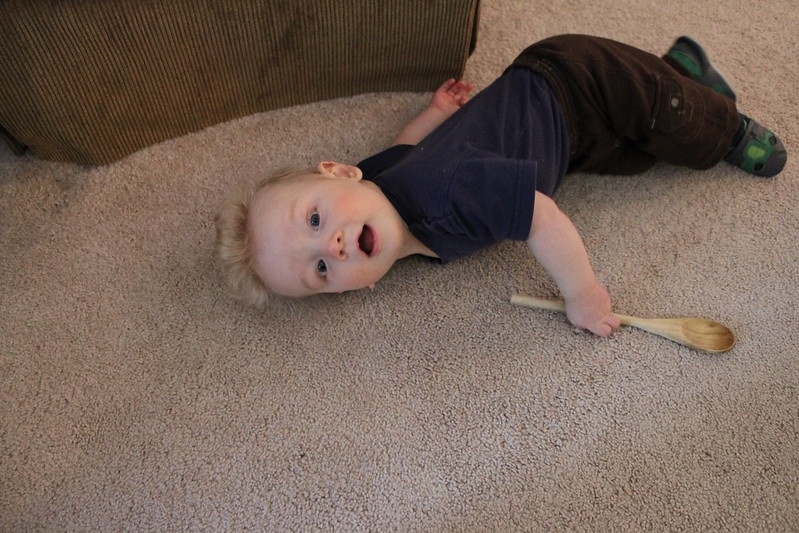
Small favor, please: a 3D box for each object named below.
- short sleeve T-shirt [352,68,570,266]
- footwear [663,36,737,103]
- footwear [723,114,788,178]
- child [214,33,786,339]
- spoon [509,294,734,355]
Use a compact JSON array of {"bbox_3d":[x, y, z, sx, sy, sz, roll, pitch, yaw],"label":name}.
[{"bbox_3d":[0.178,-0.196,1.566,0.450,0.280,0.376,-19,56,-9],"label":"short sleeve T-shirt"},{"bbox_3d":[0.736,-0.471,1.666,0.215,0.077,0.086,47,42,8],"label":"footwear"},{"bbox_3d":[0.847,-0.295,1.688,0.188,0.094,0.079,30,22,10],"label":"footwear"},{"bbox_3d":[0.257,-0.147,1.749,1.191,0.470,0.678,-31,53,0],"label":"child"},{"bbox_3d":[0.528,0.137,1.580,0.487,0.053,0.094,12,92,12],"label":"spoon"}]
